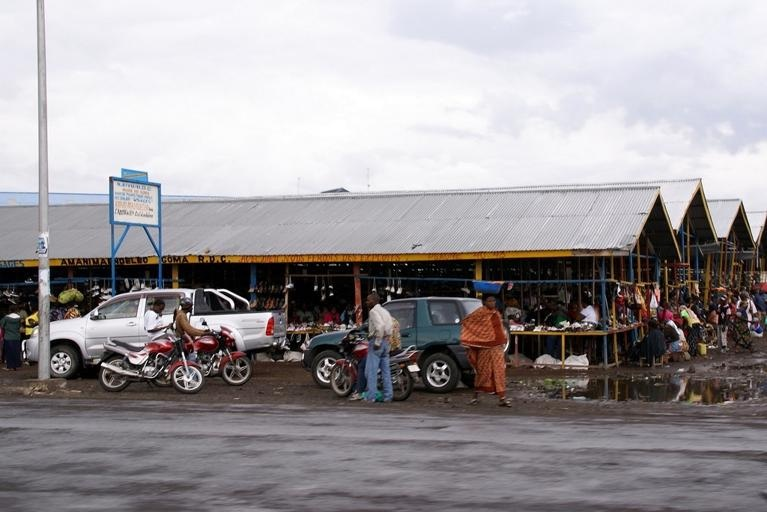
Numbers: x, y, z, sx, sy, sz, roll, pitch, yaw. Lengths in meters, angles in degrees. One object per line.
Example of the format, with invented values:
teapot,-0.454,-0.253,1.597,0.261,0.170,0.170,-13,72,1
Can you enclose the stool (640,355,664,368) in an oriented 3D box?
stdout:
stool,7.033,2.734,25.924,0.470,0.596,0.444,3,-5,-24

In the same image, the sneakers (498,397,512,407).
sneakers,2.296,2.833,19.035,0.140,0.156,0.258,1,-6,-29

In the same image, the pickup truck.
pickup truck,-5.436,1.722,24.138,5.849,1.966,2.423,0,-4,3

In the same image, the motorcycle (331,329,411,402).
motorcycle,-0.176,2.191,20.098,2.398,1.457,1.031,-1,-5,42

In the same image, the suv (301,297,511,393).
suv,0.264,1.924,21.884,3.707,1.584,2.148,0,-3,16

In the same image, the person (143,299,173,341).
person,-5.029,1.444,22.227,0.576,0.935,0.733,-4,5,-5

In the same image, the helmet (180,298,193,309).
helmet,-4.202,1.009,21.211,0.223,0.243,0.256,17,20,29

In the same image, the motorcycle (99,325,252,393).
motorcycle,-4.536,2.231,21.442,2.994,1.433,1.422,0,8,2

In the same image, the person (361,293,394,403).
person,-0.107,1.840,19.513,0.581,2.084,0.549,0,3,-1

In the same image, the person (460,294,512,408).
person,1.992,1.849,19.327,0.981,2.068,0.919,0,3,5

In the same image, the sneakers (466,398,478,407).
sneakers,1.724,2.851,19.291,0.238,0.220,0.080,2,-4,44
